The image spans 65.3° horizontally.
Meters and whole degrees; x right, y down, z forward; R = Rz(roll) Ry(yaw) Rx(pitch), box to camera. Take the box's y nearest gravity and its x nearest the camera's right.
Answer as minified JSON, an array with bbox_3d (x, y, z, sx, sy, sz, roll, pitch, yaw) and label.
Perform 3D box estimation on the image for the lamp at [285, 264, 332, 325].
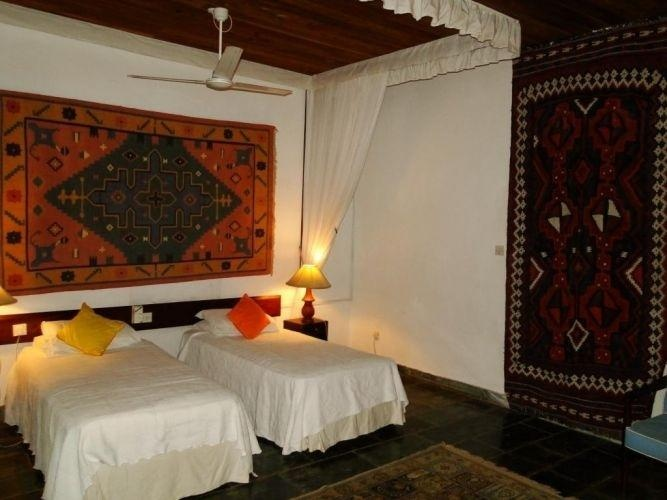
[{"bbox_3d":[-0.307,0.521,6.494,0.633,0.772,0.644,1,5,6],"label":"lamp"}]

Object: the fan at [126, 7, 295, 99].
[{"bbox_3d":[-0.849,-1.461,4.451,1.217,0.641,1.087,6,10,-6],"label":"fan"}]
